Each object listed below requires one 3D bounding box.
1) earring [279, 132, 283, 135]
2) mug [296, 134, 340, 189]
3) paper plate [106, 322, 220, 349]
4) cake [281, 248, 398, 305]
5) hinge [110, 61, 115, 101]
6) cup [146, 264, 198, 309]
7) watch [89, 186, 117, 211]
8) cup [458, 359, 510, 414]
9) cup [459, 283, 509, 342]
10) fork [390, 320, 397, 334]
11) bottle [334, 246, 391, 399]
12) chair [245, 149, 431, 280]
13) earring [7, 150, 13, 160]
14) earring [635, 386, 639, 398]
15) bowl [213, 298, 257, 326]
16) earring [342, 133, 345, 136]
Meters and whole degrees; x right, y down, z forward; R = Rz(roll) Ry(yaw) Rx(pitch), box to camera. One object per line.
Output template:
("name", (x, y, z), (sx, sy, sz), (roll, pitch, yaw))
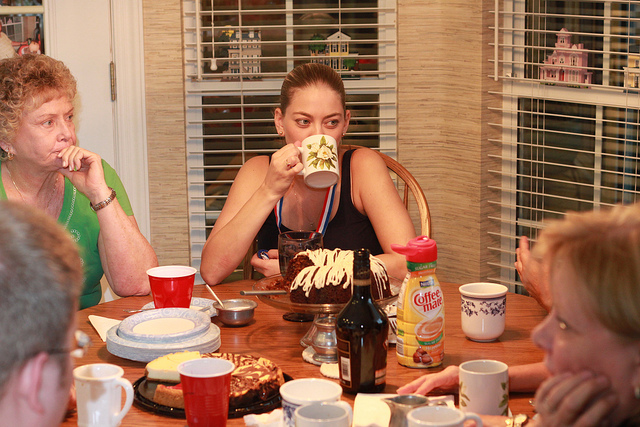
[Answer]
("earring", (-0.157, -0.322, 2.278), (0.013, 0.013, 0.003), (2, 11, 38))
("mug", (-0.038, -0.183, 1.875), (0.189, 0.134, 0.113), (-2, -14, -7))
("paper plate", (-0.413, 0.304, 1.511), (0.220, 0.010, 0.214), (0, 3, 15))
("cake", (0.025, 0.161, 1.518), (0.302, 0.098, 0.305), (11, 11, 43))
("hinge", (-1.021, -0.651, 2.806), (0.023, 0.181, 0.008), (0, 8, 13))
("cup", (-0.429, 0.223, 1.660), (0.144, 0.109, 0.134), (1, 6, 0))
("watch", (-0.784, -0.048, 2.061), (0.080, 0.073, 0.058), (-4, 9, -19))
("cup", (0.335, 0.360, 1.175), (0.094, 0.103, 0.050), (1, 9, 16))
("cup", (0.434, 0.269, 1.531), (0.130, 0.135, 0.128), (-1, 4, 0))
("fork", (0.185, 0.293, 1.454), (0.007, 0.026, 0.019), (-11, 12, 33))
("bottle", (0.118, 0.263, 1.300), (0.088, 0.277, 0.159), (6, 11, 43))
("chair", (0.169, 0.101, 2.605), (0.719, 0.878, 0.628), (-1, -2, 8))
("earring", (-1.108, -0.209, 2.038), (0.016, 0.032, 0.035), (-6, 9, -29))
("earring", (0.498, 0.281, 0.898), (0.004, 0.017, 0.008), (-7, 10, -32))
("bowl", (-0.226, 0.280, 1.622), (0.087, 0.038, 0.086), (15, 6, -2))
("earring", (0.090, -0.308, 2.218), (0.011, 0.003, 0.011), (0, 0, -14))
